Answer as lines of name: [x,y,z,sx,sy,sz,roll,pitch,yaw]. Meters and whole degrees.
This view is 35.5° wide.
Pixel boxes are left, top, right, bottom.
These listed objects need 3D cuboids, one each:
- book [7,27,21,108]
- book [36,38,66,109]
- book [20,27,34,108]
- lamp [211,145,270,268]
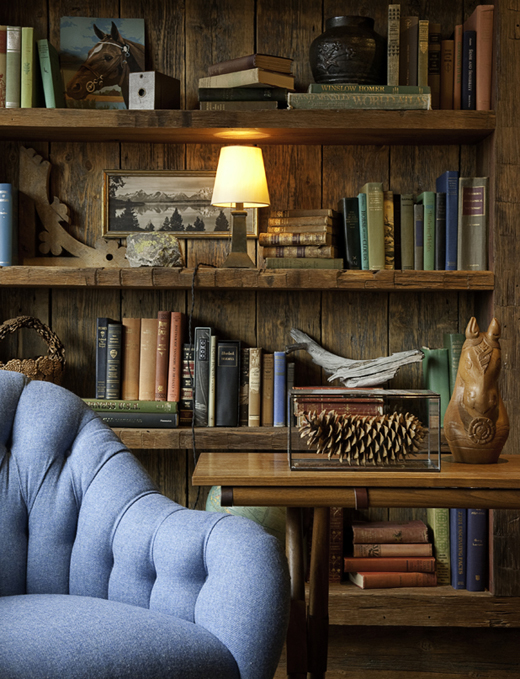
book: [-0.654,-0.728,2.164,0.048,0.209,0.022,-1,1,-12]
book: [-0.564,-0.707,2.191,0.064,0.196,0.119,-1,1,-7]
book: [-0.615,-0.722,2.155,0.038,0.221,0.041,-1,1,-15]
lamp: [-0.052,-0.369,2.237,0.157,0.353,0.281,-1,1,-2]
